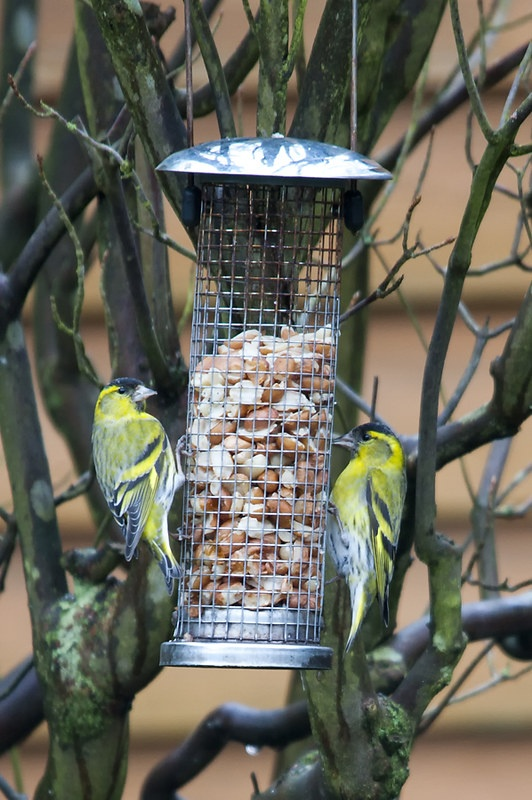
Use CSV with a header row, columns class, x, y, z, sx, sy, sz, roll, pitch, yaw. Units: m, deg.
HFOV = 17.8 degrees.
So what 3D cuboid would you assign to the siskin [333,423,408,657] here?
class,x,y,z,sx,sy,sz,roll,pitch,yaw
siskin,0.355,0.486,6.020,0.278,0.754,0.248,5,-35,-2
